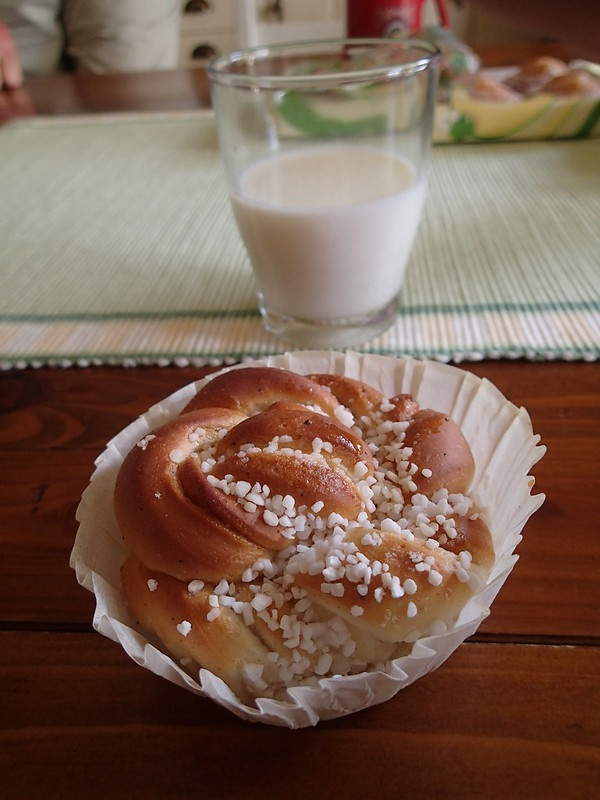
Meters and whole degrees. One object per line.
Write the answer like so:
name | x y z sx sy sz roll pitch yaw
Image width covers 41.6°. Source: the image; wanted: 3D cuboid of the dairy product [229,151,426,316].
dairy product | 0.027 -0.152 0.817 0.209 0.124 0.199 1 23 6

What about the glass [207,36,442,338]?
glass | 0.027 -0.231 0.822 0.277 0.276 0.257 -3 37 1

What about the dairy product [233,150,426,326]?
dairy product | 0.045 -0.136 0.817 0.201 0.117 0.190 2 11 7
